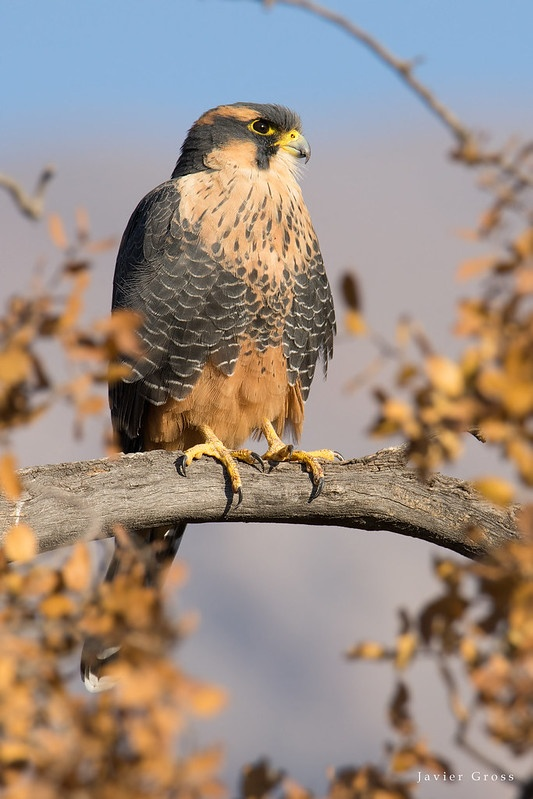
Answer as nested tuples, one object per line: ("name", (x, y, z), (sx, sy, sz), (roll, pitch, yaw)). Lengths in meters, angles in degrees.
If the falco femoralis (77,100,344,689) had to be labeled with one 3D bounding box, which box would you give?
("falco femoralis", (-0.177, -0.114, 3.978), (0.809, 2.145, 0.990), (-2, -22, 3))
